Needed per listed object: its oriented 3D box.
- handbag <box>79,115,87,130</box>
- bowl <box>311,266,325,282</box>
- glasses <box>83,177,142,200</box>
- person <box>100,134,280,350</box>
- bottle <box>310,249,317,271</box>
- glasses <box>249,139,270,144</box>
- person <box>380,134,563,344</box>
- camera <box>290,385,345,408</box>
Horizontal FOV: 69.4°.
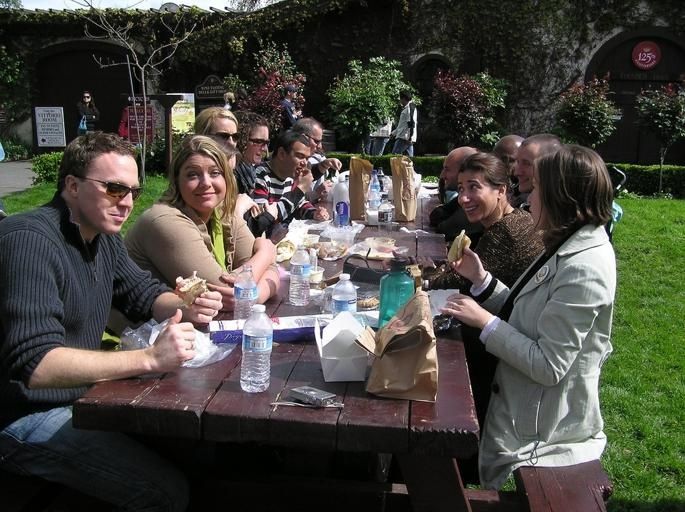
[{"bbox_3d":[-8.054,-4.137,15.405,0.175,0.419,0.459,-1,14,-27],"label":"handbag"},{"bbox_3d":[-0.132,0.104,2.775,0.072,0.055,0.074,0,8,0],"label":"bowl"},{"bbox_3d":[-0.955,-0.293,2.066,0.110,0.034,0.110,16,-1,19],"label":"glasses"},{"bbox_3d":[-0.893,-0.193,3.154,1.146,1.269,0.919,-2,11,10],"label":"person"},{"bbox_3d":[-0.171,0.028,2.932,0.034,0.130,0.069,-1,7,6],"label":"bottle"},{"bbox_3d":[-0.916,-1.212,5.237,0.106,0.033,0.109,8,10,31],"label":"glasses"},{"bbox_3d":[0.670,-0.246,3.063,0.979,1.739,0.739,6,-4,10],"label":"person"},{"bbox_3d":[-0.095,0.452,1.645,0.129,0.026,0.072,6,4,22],"label":"camera"}]
